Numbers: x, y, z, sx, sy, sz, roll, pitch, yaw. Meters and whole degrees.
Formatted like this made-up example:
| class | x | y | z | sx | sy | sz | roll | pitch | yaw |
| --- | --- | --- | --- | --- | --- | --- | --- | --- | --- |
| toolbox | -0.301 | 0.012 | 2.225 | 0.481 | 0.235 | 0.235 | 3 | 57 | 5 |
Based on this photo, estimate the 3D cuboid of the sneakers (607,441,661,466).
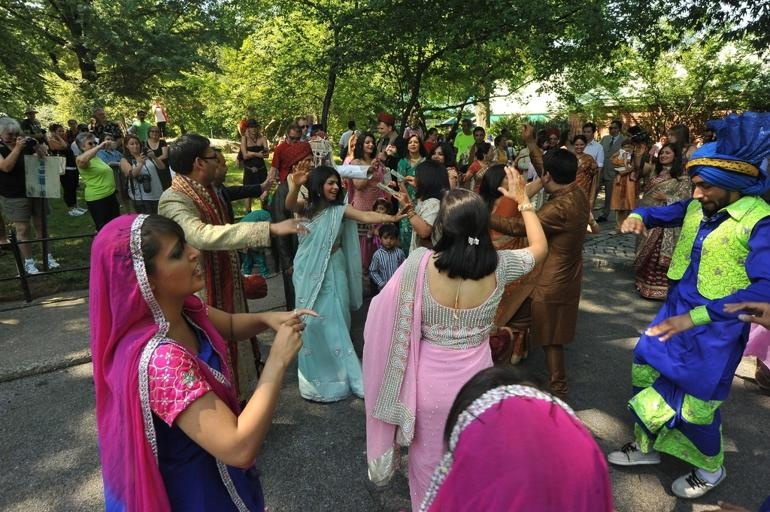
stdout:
| class | x | y | z | sx | sy | sz | roll | pitch | yaw |
| --- | --- | --- | --- | --- | --- | --- | --- | --- | --- |
| sneakers | 2.276 | 1.824 | 4.887 | 0.483 | 0.203 | 0.193 | 1 | 0 | 7 |

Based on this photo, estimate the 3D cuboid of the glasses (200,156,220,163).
| class | x | y | z | sx | sy | sz | roll | pitch | yaw |
| --- | --- | --- | --- | --- | --- | --- | --- | --- | --- |
| glasses | -1.597 | -0.906 | 4.839 | 0.087 | 0.049 | 0.251 | 2 | 10 | 8 |

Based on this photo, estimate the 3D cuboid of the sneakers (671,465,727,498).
| class | x | y | z | sx | sy | sz | roll | pitch | yaw |
| --- | --- | --- | --- | --- | --- | --- | --- | --- | --- |
| sneakers | 2.680 | 2.000 | 4.631 | 0.519 | 0.186 | 0.186 | -19 | -15 | 13 |

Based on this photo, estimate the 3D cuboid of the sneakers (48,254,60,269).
| class | x | y | z | sx | sy | sz | roll | pitch | yaw |
| --- | --- | --- | --- | --- | --- | --- | --- | --- | --- |
| sneakers | -5.681 | 0.082 | 8.947 | 0.168 | 0.213 | 0.502 | -2 | 5 | -36 |
